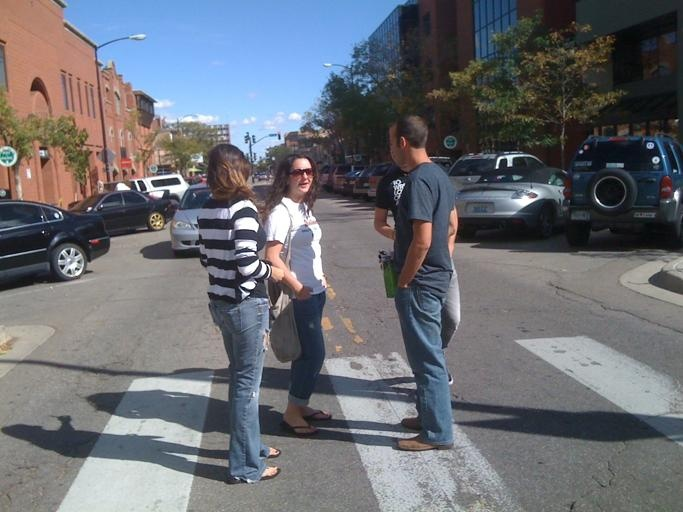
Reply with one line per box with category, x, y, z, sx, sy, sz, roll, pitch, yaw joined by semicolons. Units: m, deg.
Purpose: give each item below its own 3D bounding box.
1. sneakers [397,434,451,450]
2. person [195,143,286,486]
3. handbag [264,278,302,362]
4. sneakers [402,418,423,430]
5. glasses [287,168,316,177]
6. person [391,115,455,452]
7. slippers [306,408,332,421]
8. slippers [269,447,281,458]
sneakers;0.614;1.386;3.754;0.356;0.151;0.146;3;-8;4
person;-0.675;0.377;3.517;0.507;2.310;0.482;-5;9;-17
handbag;-0.458;0.510;3.951;0.263;0.661;0.170;9;22;29
sneakers;0.562;1.342;4.045;0.162;0.073;0.068;7;7;13
glasses;-0.301;-0.660;3.930;0.201;0.057;0.062;-9;11;-30
person;0.624;0.187;3.811;0.435;2.476;0.604;-1;8;13
slippers;-0.203;1.341;4.262;0.183;0.055;0.095;-2;1;14
slippers;-0.489;1.454;3.740;0.092;0.028;0.051;3;21;9
